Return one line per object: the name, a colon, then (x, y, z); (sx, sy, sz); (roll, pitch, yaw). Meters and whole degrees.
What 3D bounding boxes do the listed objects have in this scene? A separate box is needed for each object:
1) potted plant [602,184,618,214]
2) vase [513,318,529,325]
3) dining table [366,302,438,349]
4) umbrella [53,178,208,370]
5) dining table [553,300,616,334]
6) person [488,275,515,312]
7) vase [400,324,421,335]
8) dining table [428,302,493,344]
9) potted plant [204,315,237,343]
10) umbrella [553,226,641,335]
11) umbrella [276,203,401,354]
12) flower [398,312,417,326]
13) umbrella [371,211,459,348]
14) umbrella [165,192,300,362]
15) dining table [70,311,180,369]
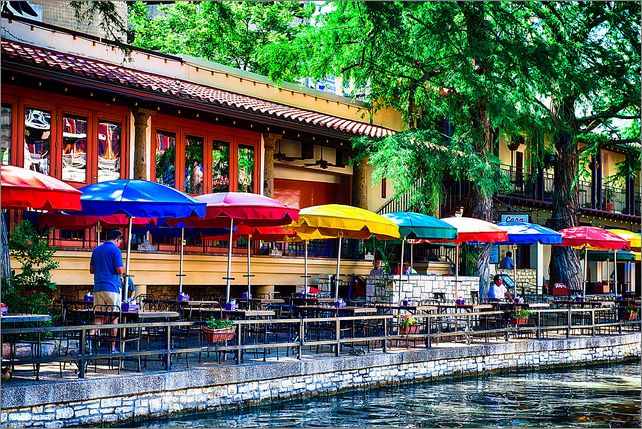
potted plant: (14.994, -0.756, 55.339); (0.591, 1.597, 2.794); (-2, -7, 19)
vase: (6.150, 3.327, 32.872); (0.382, 0.139, 0.274); (2, -2, -38)
dining table: (2.596, 3.297, 30.640); (1.397, 1.041, 1.392); (1, -2, -41)
umbrella: (-5.280, 1.658, 28.645); (4.762, 4.849, 4.491); (6, -4, -26)
dining table: (9.097, 3.358, 35.705); (1.590, 1.021, 1.622); (-2, -3, 39)
person: (5.780, 2.450, 34.464); (0.833, 1.209, 0.876); (-1, 4, 32)
vase: (2.547, 3.290, 30.180); (0.289, 0.148, 0.436); (-8, -17, 43)
dining table: (4.127, 3.452, 31.735); (1.467, 0.917, 1.490); (1, 0, 36)
potted plant: (-2.550, 2.974, 27.012); (0.743, 0.476, 0.584); (2, 0, -42)
umbrella: (10.176, 2.492, 39.639); (2.975, 2.616, 3.076); (12, -4, -23)
umbrella: (0.471, 2.061, 32.207); (3.487, 2.904, 3.404); (3, -11, 7)
flower: (2.478, 2.961, 29.888); (0.386, 0.266, 0.334); (4, -6, -31)
umbrella: (2.512, 1.389, 32.174); (2.791, 2.910, 2.731); (4, 1, -3)
umbrella: (-2.489, 0.838, 29.534); (2.719, 2.880, 2.692); (3, 0, -11)
dining table: (-4.745, 3.026, 26.617); (1.083, 1.074, 1.834); (-13, -2, 18)
